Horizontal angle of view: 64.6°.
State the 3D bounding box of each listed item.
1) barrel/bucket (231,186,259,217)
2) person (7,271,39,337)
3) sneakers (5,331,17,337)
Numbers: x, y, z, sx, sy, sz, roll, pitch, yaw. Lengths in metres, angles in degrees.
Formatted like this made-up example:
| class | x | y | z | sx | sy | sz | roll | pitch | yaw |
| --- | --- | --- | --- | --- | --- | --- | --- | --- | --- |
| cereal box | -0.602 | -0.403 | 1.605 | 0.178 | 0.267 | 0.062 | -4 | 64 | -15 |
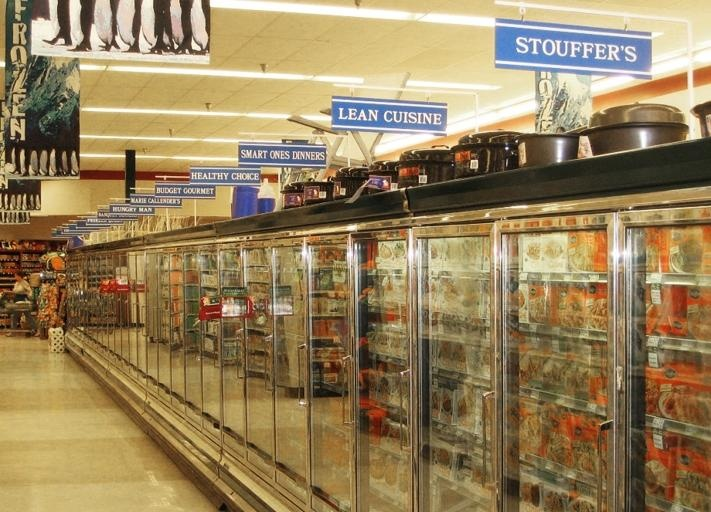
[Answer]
| class | x | y | z | sx | sy | sz | roll | pitch | yaw |
| --- | --- | --- | --- | --- | --- | --- | --- | --- | --- |
| barrel/bucket | -1.184 | -0.579 | 6.164 | 0.335 | 0.352 | 0.331 | 1 | -2 | 0 |
| person | -12.034 | 1.632 | 20.206 | 0.894 | 3.112 | 1.015 | -2 | 4 | -30 |
| sneakers | -12.102 | 2.721 | 19.728 | 0.305 | 0.202 | 0.120 | 6 | -3 | 4 |
